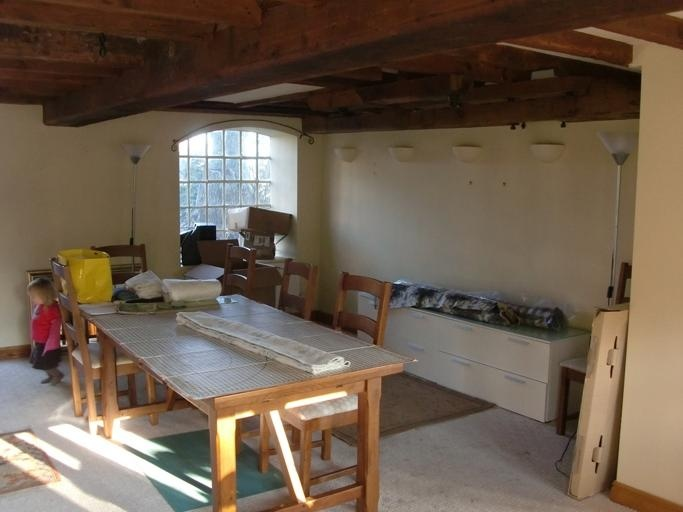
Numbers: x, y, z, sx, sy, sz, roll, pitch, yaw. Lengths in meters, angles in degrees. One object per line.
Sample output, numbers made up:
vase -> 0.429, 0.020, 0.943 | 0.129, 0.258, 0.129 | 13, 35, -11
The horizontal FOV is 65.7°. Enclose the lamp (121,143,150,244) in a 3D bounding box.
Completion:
lamp -> -2.259, -0.690, 5.881 | 0.231, 1.120, 0.390 | -1, 12, -18
